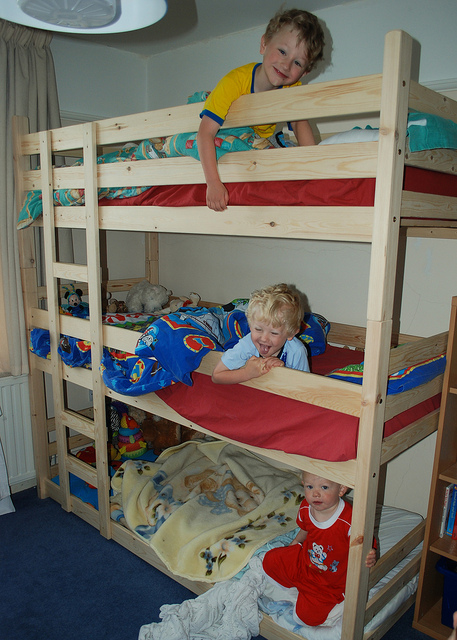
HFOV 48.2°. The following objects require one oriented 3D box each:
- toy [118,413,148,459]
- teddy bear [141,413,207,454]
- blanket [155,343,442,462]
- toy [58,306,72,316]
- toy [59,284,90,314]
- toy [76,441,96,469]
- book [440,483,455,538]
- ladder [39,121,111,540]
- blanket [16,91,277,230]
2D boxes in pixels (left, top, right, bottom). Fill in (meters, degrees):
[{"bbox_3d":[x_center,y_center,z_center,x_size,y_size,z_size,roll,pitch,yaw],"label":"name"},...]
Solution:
[{"bbox_3d":[-0.670,0.757,3.423,0.202,0.262,0.207,-4,0,7],"label":"toy"},{"bbox_3d":[-0.388,0.737,3.446,0.266,0.214,0.374,-2,5,-43],"label":"teddy bear"},{"bbox_3d":[0.285,0.230,2.114,1.001,0.327,1.132,-5,11,-38],"label":"blanket"},{"bbox_3d":[-0.887,-0.050,2.743,0.101,0.038,0.030,14,27,40],"label":"toy"},{"bbox_3d":[-0.899,-0.097,2.991,0.212,0.199,0.153,-5,-8,-23],"label":"toy"},{"bbox_3d":[-0.892,0.849,3.203,0.184,0.065,0.200,-3,10,-31],"label":"toy"},{"bbox_3d":[0.887,0.774,2.076,0.049,0.234,0.023,-15,23,-36],"label":"book"},{"bbox_3d":[-0.788,-0.096,2.620,0.452,2.387,0.429,-2,9,-22],"label":"ladder"},{"bbox_3d":[-0.368,-0.616,2.059,0.968,0.299,0.747,2,24,28],"label":"blanket"}]
